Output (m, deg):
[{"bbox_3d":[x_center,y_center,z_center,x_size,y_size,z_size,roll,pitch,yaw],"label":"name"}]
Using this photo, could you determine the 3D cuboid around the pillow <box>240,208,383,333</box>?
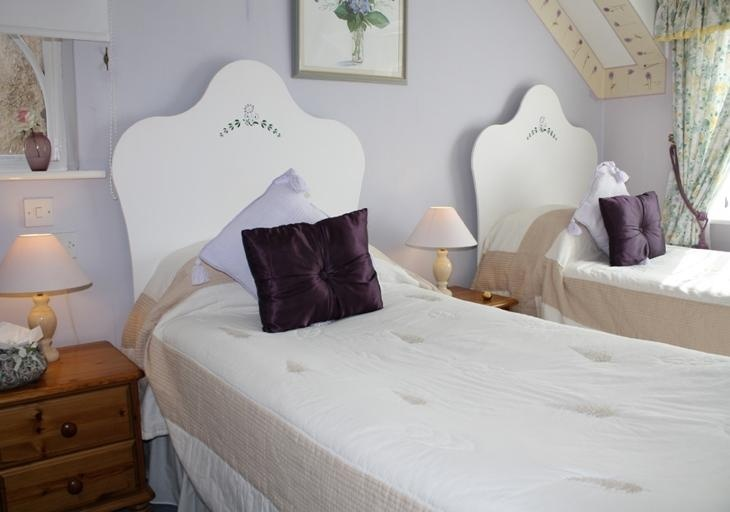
[{"bbox_3d":[-0.223,0.078,2.135,0.600,0.478,0.168,-12,-6,-37],"label":"pillow"}]

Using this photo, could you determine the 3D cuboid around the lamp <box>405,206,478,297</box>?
[{"bbox_3d":[0.490,-0.045,3.241,0.491,0.630,0.481,-7,7,-45],"label":"lamp"}]

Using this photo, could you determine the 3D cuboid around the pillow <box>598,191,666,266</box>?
[{"bbox_3d":[1.607,-0.147,3.202,0.465,0.454,0.131,-4,-10,-34],"label":"pillow"}]

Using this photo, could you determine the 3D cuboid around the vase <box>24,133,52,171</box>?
[{"bbox_3d":[-1.565,-0.497,2.386,0.109,0.199,0.220,-7,10,-31],"label":"vase"}]
